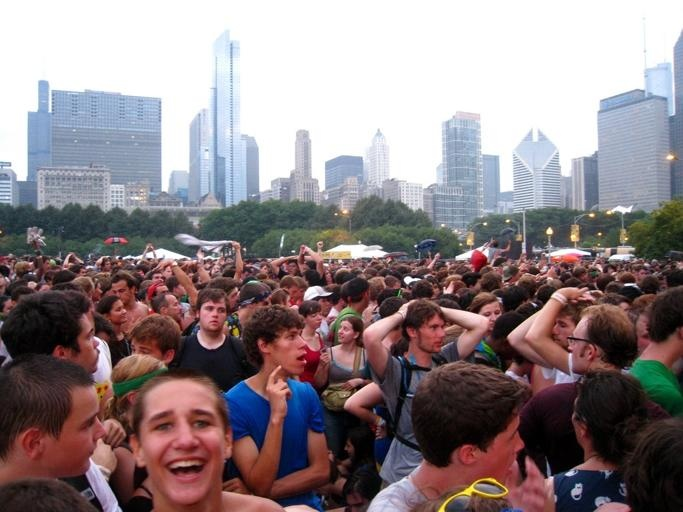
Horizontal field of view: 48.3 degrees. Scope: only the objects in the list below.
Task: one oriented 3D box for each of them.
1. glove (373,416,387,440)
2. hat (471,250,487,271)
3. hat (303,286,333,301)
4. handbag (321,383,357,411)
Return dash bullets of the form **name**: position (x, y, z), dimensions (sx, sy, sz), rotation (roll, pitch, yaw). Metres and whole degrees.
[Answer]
- **glove**: position (0.356, 1.558, 6.935), dimensions (0.067, 0.140, 0.181), rotation (-5, 43, -20)
- **hat**: position (2.540, 0.076, 13.920), dimensions (0.290, 0.283, 0.450), rotation (0, 0, -4)
- **hat**: position (-0.325, 0.475, 9.698), dimensions (0.293, 0.115, 0.194), rotation (-6, 5, -27)
- **handbag**: position (-0.051, 1.400, 7.578), dimensions (0.223, 0.124, 0.278), rotation (3, -3, -26)
